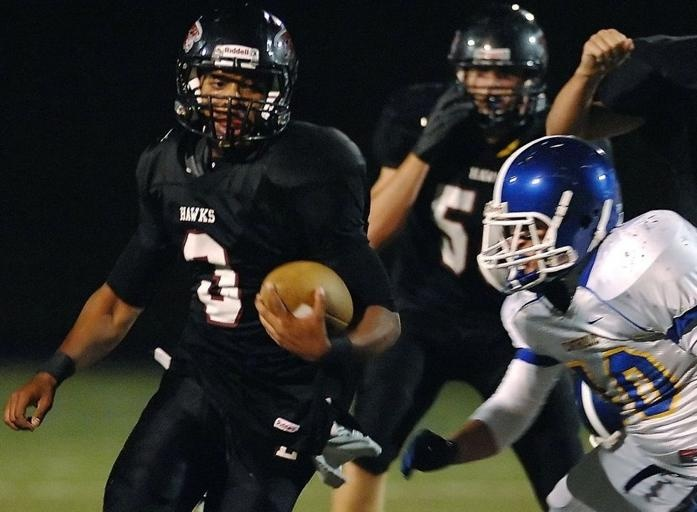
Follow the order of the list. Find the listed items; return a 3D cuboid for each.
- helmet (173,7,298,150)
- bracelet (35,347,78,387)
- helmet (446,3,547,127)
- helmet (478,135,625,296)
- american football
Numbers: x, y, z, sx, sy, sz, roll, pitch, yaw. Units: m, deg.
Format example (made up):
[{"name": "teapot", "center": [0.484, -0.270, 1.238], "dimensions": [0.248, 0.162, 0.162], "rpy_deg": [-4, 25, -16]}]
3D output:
[{"name": "helmet", "center": [-0.373, -0.625, 3.202], "dimensions": [0.440, 0.420, 0.535], "rpy_deg": [1, 18, 1]}, {"name": "bracelet", "center": [-1.047, 0.396, 3.286], "dimensions": [0.100, 0.067, 0.129], "rpy_deg": [38, -10, 3]}, {"name": "helmet", "center": [0.735, -0.881, 4.185], "dimensions": [0.449, 0.470, 0.565], "rpy_deg": [0, 30, 19]}, {"name": "helmet", "center": [0.646, -0.163, 3.182], "dimensions": [0.596, 0.478, 0.451], "rpy_deg": [-10, 17, -31]}, {"name": "american football", "center": [-0.118, 0.111, 2.997], "dimensions": [0.292, 0.163, 0.219], "rpy_deg": [24, 33, 8]}]
